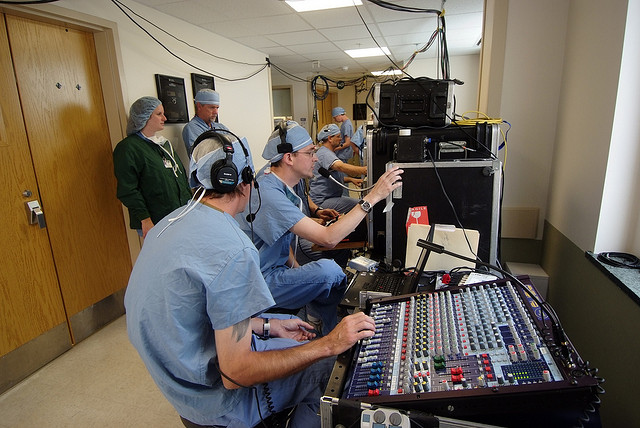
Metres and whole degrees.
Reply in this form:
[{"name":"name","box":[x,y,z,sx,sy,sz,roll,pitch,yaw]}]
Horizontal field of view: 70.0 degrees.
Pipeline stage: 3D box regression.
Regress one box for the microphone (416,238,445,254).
[{"name":"microphone","box":[0.610,0.169,2.541,0.144,0.090,0.143,-2,17,6]}]

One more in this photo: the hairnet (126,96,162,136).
[{"name":"hairnet","box":[-1.517,-0.826,3.875,0.320,0.302,0.161,-5,16,-7]}]

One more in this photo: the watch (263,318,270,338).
[{"name":"watch","box":[-0.301,0.636,2.579,0.034,0.076,0.086,-5,17,-6]}]

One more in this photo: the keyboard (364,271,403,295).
[{"name":"keyboard","box":[0.394,0.401,2.730,0.112,0.033,0.170,1,30,19]}]

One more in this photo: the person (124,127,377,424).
[{"name":"person","box":[-0.434,0.355,2.276,1.063,1.419,0.484,-6,16,-8]}]

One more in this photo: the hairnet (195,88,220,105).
[{"name":"hairnet","box":[-1.135,-1.188,4.616,0.189,0.124,0.196,3,21,-16]}]

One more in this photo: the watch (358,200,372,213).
[{"name":"watch","box":[0.286,-0.038,2.863,0.055,0.084,0.079,-47,10,-14]}]

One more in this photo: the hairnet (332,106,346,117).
[{"name":"hairnet","box":[0.292,-1.598,7.156,0.192,0.163,0.150,12,14,21]}]

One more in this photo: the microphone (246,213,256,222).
[{"name":"microphone","box":[-0.458,0.029,2.987,0.065,0.057,0.058,-2,17,3]}]

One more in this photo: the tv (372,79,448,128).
[{"name":"tv","box":[0.611,-0.740,3.113,0.483,0.353,0.305,2,15,10]}]

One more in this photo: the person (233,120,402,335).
[{"name":"person","box":[-0.016,0.295,3.345,1.190,1.810,0.803,-2,16,7]}]

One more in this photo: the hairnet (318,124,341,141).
[{"name":"hairnet","box":[0.119,-0.940,5.514,0.218,0.087,0.169,-29,44,-7]}]
